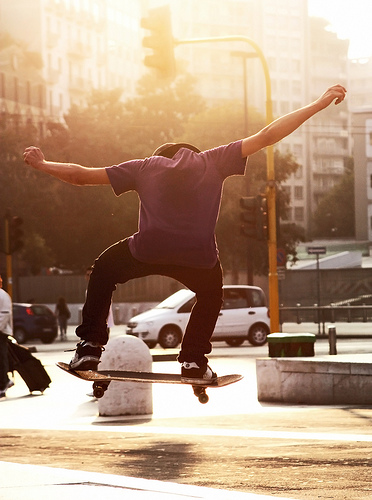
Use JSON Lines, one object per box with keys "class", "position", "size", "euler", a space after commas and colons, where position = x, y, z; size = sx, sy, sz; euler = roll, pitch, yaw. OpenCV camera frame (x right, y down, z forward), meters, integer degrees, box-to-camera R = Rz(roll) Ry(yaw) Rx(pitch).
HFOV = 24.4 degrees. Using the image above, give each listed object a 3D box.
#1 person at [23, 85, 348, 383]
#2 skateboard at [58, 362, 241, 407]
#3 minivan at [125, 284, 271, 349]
{"class": "person", "position": [-0.084, 0.013, 4.858], "size": [1.487, 1.536, 0.527], "euler": [-1, -2, 0]}
{"class": "skateboard", "position": [-0.218, 0.808, 5.223], "size": [1.185, 0.192, 0.321], "euler": [0, -18, 17]}
{"class": "minivan", "position": [0.377, 1.752, 21.702], "size": [3.447, 1.611, 1.967], "euler": [3, -5, -19]}
